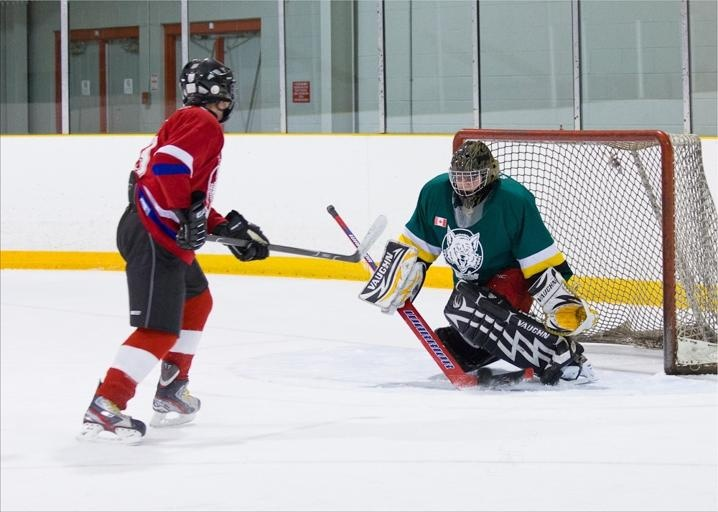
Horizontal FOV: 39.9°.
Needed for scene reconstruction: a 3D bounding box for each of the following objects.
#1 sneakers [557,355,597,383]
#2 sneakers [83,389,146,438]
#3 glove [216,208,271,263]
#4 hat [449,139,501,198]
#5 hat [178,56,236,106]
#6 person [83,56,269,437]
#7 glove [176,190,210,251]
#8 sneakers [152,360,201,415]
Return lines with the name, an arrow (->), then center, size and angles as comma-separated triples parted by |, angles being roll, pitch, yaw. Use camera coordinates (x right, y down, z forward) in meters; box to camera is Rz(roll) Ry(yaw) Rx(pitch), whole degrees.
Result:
sneakers -> 1.057, 0.551, 4.812 | 0.152, 0.134, 0.062 | -34, 4, -28
sneakers -> -1.000, 0.673, 4.114 | 0.304, 0.186, 0.097 | 2, -8, 17
glove -> -0.524, -0.092, 4.551 | 0.261, 0.201, 0.123 | 37, -16, -11
hat -> 0.560, -0.419, 4.741 | 0.228, 0.243, 0.287 | -3, 23, 33
hat -> -0.663, -0.770, 4.456 | 0.197, 0.213, 0.246 | 5, 6, 34
person -> -0.816, -0.019, 4.265 | 0.453, 1.596, 0.981 | 4, 17, 24
glove -> -0.703, -0.139, 4.221 | 0.139, 0.270, 0.169 | -5, 15, -7
sneakers -> -0.795, 0.612, 4.476 | 0.124, 0.235, 0.348 | 5, -13, 19
